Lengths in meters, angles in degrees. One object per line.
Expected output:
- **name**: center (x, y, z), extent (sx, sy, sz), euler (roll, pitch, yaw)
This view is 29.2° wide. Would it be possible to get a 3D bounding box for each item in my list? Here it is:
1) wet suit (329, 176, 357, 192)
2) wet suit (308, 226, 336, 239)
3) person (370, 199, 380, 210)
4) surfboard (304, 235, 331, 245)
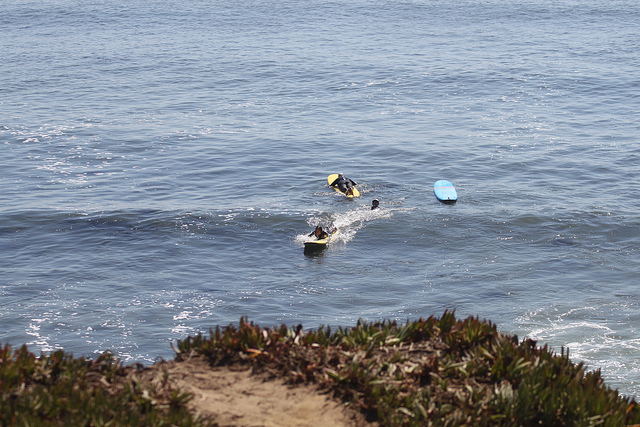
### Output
- **wet suit**: center (1.735, -2.199, 90.513), extent (1.241, 0.970, 1.686), euler (-5, 16, -16)
- **wet suit**: center (0.152, 1.399, 85.141), extent (1.156, 0.602, 1.681), euler (8, 16, 27)
- **person**: center (3.907, -0.647, 88.224), extent (0.699, 0.551, 0.237), euler (6, 3, 7)
- **surfboard**: center (-0.239, 1.809, 84.719), extent (1.549, 0.418, 1.222), euler (1, 14, 3)
